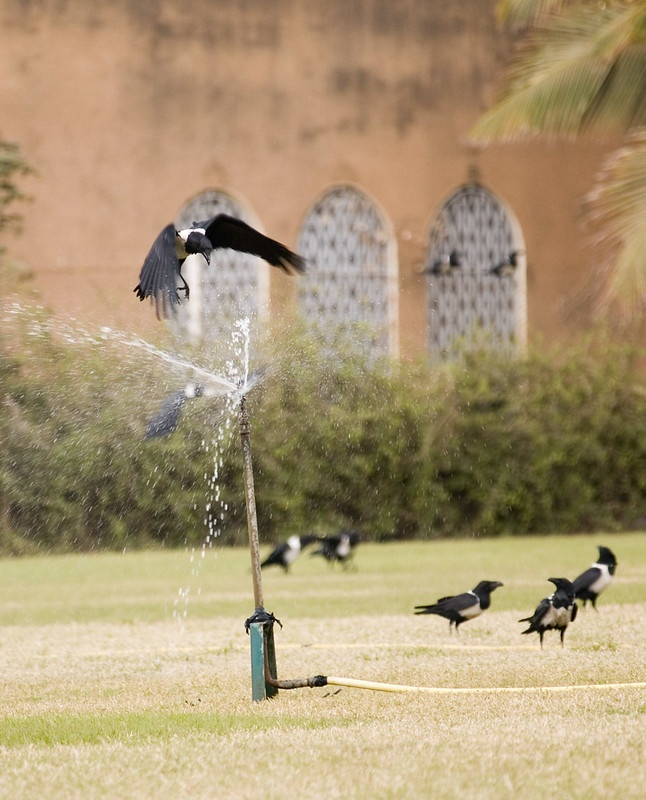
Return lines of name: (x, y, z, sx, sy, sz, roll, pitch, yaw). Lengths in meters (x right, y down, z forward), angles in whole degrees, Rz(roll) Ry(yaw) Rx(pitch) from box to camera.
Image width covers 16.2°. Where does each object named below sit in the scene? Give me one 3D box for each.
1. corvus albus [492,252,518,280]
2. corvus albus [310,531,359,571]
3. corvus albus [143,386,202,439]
corvus albus: (2.542, -1.909, 31.913, 0.423, 0.392, 0.174, 0, 7, 11)
corvus albus: (0.152, 1.766, 26.087, 0.393, 0.262, 0.400, -7, 1, -41)
corvus albus: (-1.303, 0.133, 20.117, 0.516, 0.522, 0.677, -2, 7, -5)
